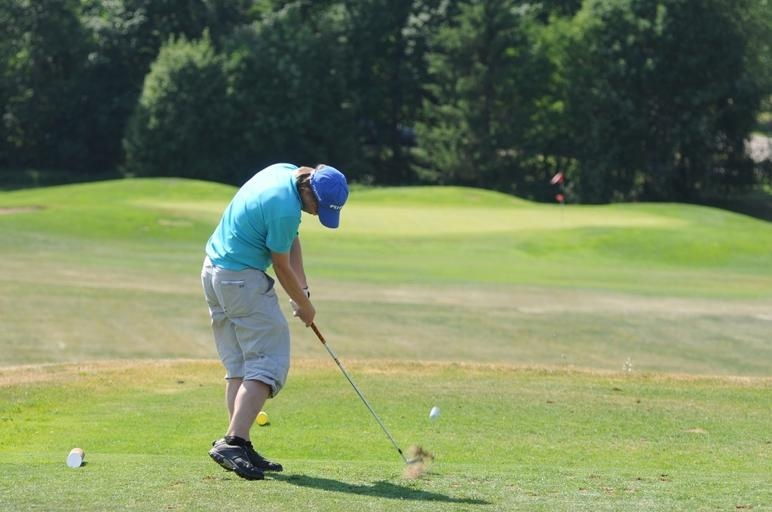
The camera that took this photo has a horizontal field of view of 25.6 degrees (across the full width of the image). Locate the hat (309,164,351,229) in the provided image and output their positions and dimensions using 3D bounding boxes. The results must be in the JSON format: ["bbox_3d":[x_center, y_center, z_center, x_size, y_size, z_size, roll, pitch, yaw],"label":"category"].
[{"bbox_3d":[-0.790,-0.907,23.885,0.505,0.828,0.567,-23,-6,40],"label":"hat"}]
